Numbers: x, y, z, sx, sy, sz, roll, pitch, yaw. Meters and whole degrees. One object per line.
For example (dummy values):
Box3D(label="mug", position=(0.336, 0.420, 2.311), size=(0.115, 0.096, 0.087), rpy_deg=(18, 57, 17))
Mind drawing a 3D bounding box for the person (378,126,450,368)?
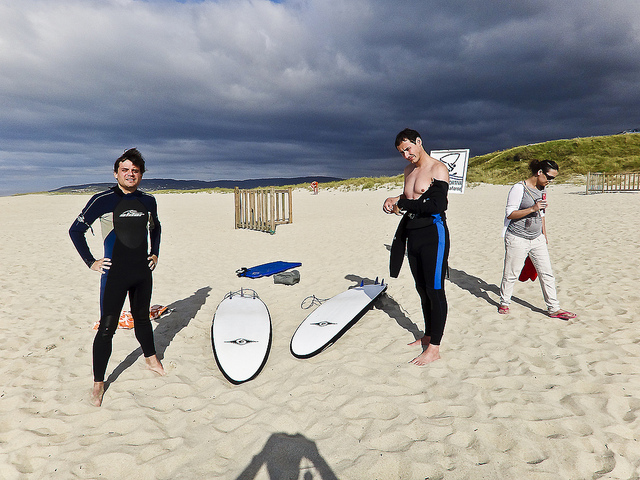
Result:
Box3D(label="person", position=(1.132, 0.071, 4.969), size=(0.720, 2.602, 0.865), rpy_deg=(3, 15, 15))

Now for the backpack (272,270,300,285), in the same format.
Box3D(label="backpack", position=(-0.627, 0.673, 7.933), size=(0.312, 0.140, 0.298), rpy_deg=(0, 4, 14))

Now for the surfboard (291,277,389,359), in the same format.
Box3D(label="surfboard", position=(0.310, 0.987, 6.176), size=(0.511, 0.466, 2.145), rpy_deg=(20, 29, 26))

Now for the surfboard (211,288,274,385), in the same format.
Box3D(label="surfboard", position=(-1.075, 1.161, 5.860), size=(0.846, 0.301, 2.535), rpy_deg=(2, 17, -10))

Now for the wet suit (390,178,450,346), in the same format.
Box3D(label="wet suit", position=(1.140, 0.249, 4.902), size=(0.677, 1.900, 0.365), rpy_deg=(6, 16, 25))

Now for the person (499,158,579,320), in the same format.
Box3D(label="person", position=(2.875, 0.009, 5.783), size=(0.810, 2.127, 0.396), rpy_deg=(3, 15, 16))

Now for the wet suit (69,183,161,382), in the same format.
Box3D(label="wet suit", position=(-2.088, 0.436, 4.610), size=(0.891, 2.044, 0.496), rpy_deg=(-11, 18, -34))
